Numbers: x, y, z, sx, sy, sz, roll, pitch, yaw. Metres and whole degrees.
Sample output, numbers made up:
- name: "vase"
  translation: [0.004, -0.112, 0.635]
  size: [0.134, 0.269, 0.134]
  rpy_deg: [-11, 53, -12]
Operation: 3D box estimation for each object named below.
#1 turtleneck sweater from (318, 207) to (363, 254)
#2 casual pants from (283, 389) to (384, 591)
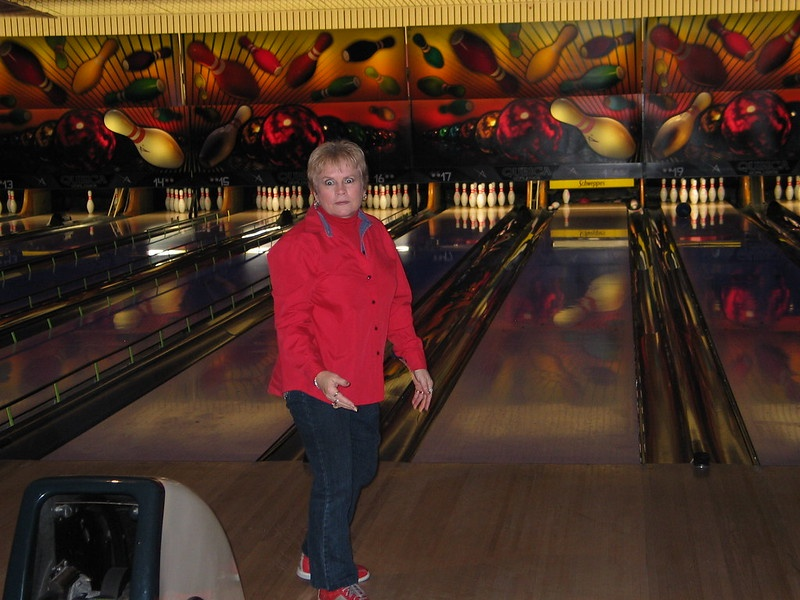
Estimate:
- name: "turtleneck sweater"
  translation: [-0.151, -0.165, 1.240]
  size: [0.067, 0.126, 0.099]
  rpy_deg: [-16, -5, 42]
- name: "casual pants"
  translation: [-0.145, 0.426, 1.231]
  size: [0.226, 0.453, 0.177]
  rpy_deg: [-5, 10, -15]
